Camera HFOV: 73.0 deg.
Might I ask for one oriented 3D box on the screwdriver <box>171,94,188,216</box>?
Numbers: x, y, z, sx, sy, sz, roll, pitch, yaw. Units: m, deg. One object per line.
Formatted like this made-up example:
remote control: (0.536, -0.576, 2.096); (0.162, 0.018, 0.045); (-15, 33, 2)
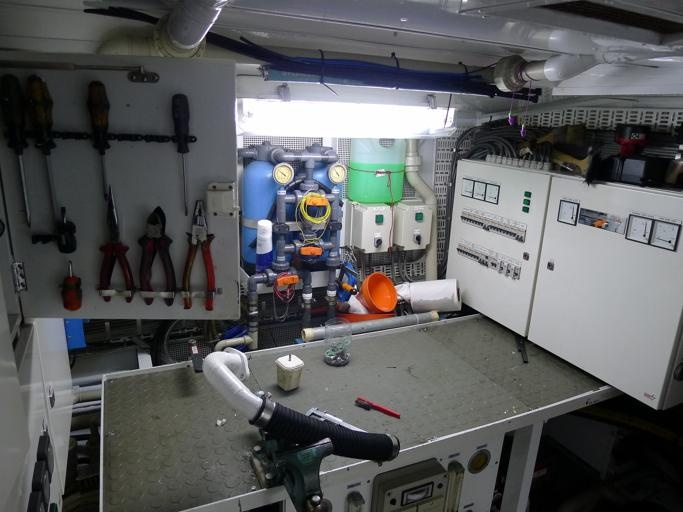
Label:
screwdriver: (-0.676, -0.420, 1.959); (0.080, 0.497, 0.049); (3, 13, 28)

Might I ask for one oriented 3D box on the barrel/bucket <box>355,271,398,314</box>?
barrel/bucket: (0.304, 0.300, 3.581); (0.319, 0.299, 0.380); (-4, 14, -24)

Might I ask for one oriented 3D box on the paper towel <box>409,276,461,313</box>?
paper towel: (0.731, 0.315, 3.591); (0.383, 0.264, 0.143); (-2, 11, 5)

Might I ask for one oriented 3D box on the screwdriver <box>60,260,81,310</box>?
screwdriver: (-1.200, 0.136, 2.022); (0.090, 0.234, 0.064); (-7, 12, -19)

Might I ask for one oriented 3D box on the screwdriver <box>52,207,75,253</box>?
screwdriver: (-1.187, -0.108, 1.959); (0.086, 0.203, 0.054); (-7, 12, -20)
